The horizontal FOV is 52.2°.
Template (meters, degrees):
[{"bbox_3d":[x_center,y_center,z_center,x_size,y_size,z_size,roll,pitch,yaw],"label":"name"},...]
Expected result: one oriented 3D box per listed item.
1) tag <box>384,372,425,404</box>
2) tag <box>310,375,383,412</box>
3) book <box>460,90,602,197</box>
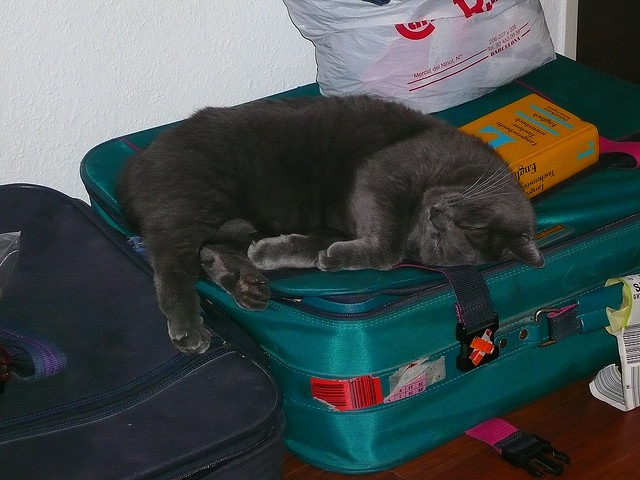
[{"bbox_3d":[0.153,0.275,1.229,0.060,0.069,0.018,7,55,-33],"label":"tag"},{"bbox_3d":[0.052,0.277,1.189,0.098,0.033,0.108,-8,10,-35],"label":"tag"},{"bbox_3d":[0.438,-0.197,1.470,0.295,0.061,0.277,-29,46,-29],"label":"book"}]
